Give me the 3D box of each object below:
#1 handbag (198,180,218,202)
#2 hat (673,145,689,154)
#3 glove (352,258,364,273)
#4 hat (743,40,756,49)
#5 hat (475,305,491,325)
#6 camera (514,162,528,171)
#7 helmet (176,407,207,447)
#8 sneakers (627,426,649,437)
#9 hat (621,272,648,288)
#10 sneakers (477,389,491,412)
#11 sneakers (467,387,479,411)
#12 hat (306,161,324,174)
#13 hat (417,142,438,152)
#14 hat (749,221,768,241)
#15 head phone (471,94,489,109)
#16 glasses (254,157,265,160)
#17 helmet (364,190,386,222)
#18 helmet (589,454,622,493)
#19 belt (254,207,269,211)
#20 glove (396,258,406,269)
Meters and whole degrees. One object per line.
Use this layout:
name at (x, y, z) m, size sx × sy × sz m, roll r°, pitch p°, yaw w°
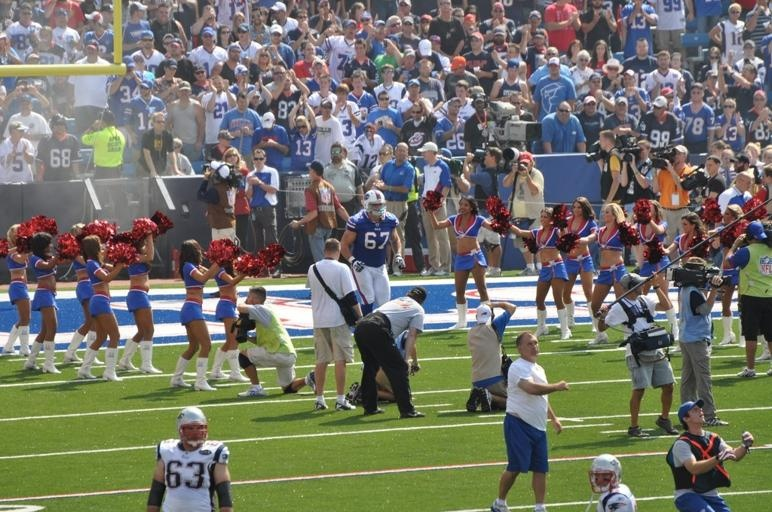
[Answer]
handbag at (-3.871, -1.366, 31.005) m, size 0.214 × 0.485 × 0.354 m, roll -15°, pitch -3°, yaw 44°
hat at (6.564, -2.350, 31.754) m, size 0.311 × 0.176 × 0.197 m, roll -4°, pitch 1°, yaw -39°
glove at (-0.522, 0.160, 26.427) m, size 0.203 × 0.200 × 0.072 m, roll 2°, pitch 17°, yaw 36°
hat at (9.475, -5.518, 37.450) m, size 0.212 × 0.341 × 0.339 m, roll -4°, pitch -7°, yaw 9°
hat at (1.614, 0.933, 23.619) m, size 0.251 × 0.287 × 0.242 m, roll -4°, pitch 1°, yaw 4°
camera at (2.959, -1.958, 31.108) m, size 0.279 × 0.167 × 0.229 m, roll -4°, pitch 1°, yaw -17°
helmet at (-2.588, 2.272, 19.387) m, size 0.365 × 0.485 × 0.503 m, roll 1°, pitch -4°, yaw -17°
sneakers at (4.103, 2.828, 23.336) m, size 0.322 × 0.137 × 0.136 m, roll 1°, pitch 2°, yaw -12°
hat at (4.086, 0.432, 23.547) m, size 0.420 × 0.234 × 0.259 m, roll -15°, pitch 12°, yaw -3°
sneakers at (1.685, 2.401, 24.322) m, size 0.178 × 0.363 × 0.161 m, roll -4°, pitch 1°, yaw 3°
sneakers at (1.477, 2.426, 24.499) m, size 0.161 × 0.445 × 0.175 m, roll 7°, pitch 12°, yaw 12°
hat at (-1.488, -1.893, 30.792) m, size 0.268 × 0.294 × 0.431 m, roll -4°, pitch 1°, yaw -4°
hat at (0.980, -2.441, 31.913) m, size 0.321 × 0.191 × 0.239 m, roll 1°, pitch -1°, yaw -2°
hat at (6.572, -0.458, 25.476) m, size 0.343 × 0.200 × 0.240 m, roll 30°, pitch 52°, yaw 31°
head phone at (2.148, -3.568, 32.914) m, size 0.330 × 0.350 × 0.256 m, roll -1°, pitch 10°, yaw 6°
glasses at (-2.856, -2.200, 32.410) m, size 0.239 × 0.067 × 0.202 m, roll -4°, pitch 1°, yaw -17°
helmet at (-0.207, -0.945, 26.327) m, size 0.332 × 0.548 × 0.411 m, roll -4°, pitch 1°, yaw -5°
helmet at (3.045, 2.956, 19.856) m, size 0.386 × 0.437 × 0.527 m, roll -5°, pitch -3°, yaw 28°
belt at (-2.834, -1.099, 32.470) m, size 0.307 × 0.066 × 0.061 m, roll -4°, pitch 1°, yaw -8°
glove at (0.268, 0.074, 28.212) m, size 0.087 × 0.155 × 0.230 m, roll -32°, pitch 18°, yaw -8°
